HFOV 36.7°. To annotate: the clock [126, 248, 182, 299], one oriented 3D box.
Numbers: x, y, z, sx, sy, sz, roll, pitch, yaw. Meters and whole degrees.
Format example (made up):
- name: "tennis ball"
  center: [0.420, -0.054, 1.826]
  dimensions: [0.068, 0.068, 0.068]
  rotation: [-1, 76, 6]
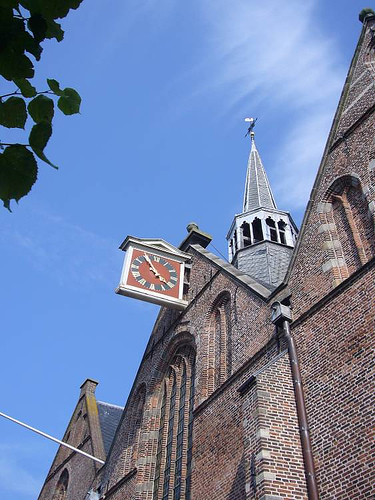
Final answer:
- name: "clock"
  center: [-1.208, 0.830, 19.108]
  dimensions: [1.986, 1.802, 0.159]
  rotation: [13, -52, -21]
